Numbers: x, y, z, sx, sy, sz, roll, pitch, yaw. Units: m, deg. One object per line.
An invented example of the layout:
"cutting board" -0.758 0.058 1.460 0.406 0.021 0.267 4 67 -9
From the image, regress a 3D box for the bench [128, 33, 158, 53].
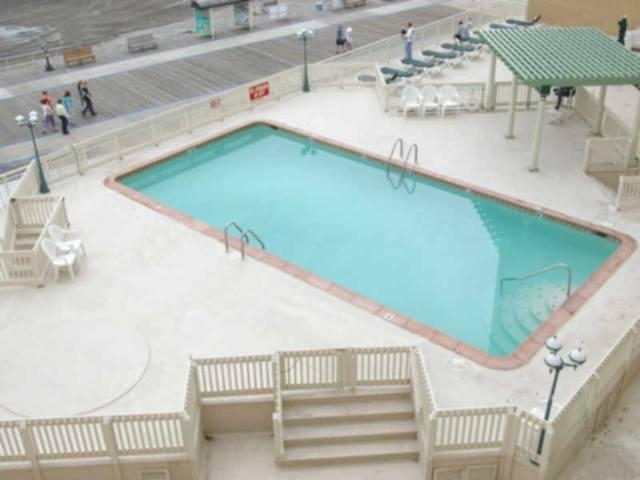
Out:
"bench" -10.314 -11.343 35.502 1.907 0.739 1.516 -25 35 -33

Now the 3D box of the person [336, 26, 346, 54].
"person" 1.189 -11.400 34.838 0.632 1.289 1.125 -2 28 3

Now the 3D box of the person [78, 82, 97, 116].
"person" -10.609 -6.325 27.880 0.758 0.719 1.951 -21 -9 -23
